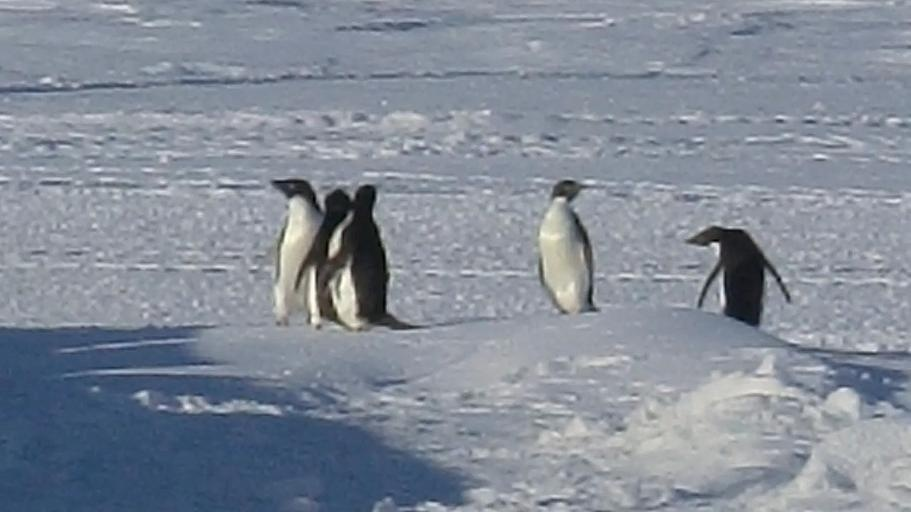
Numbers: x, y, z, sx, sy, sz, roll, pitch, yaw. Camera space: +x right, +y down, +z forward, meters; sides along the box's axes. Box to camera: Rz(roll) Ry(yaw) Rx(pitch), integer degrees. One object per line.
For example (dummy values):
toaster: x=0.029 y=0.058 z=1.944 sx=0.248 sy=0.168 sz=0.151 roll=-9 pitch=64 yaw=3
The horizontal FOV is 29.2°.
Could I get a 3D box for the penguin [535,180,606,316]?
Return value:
penguin: x=1.623 y=-0.158 z=28.635 sx=1.340 sy=2.014 sz=2.303 roll=2 pitch=2 yaw=-1
